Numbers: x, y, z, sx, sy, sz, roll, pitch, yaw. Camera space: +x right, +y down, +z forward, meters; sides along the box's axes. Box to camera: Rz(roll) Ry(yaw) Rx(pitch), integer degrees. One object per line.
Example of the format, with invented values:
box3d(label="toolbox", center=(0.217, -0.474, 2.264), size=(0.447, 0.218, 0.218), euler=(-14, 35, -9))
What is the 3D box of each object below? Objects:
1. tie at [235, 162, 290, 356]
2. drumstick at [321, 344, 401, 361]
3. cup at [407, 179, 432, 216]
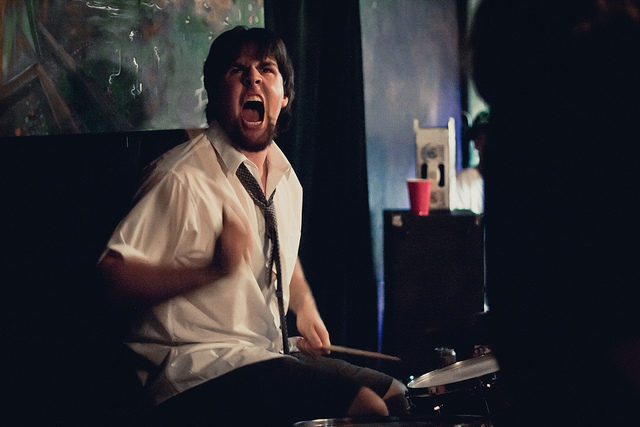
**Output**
box3d(label="tie", center=(-0.248, 0.111, 2.928), size=(0.161, 1.077, 0.178), euler=(0, -3, 28))
box3d(label="drumstick", center=(0.200, 0.637, 2.969), size=(0.320, 0.070, 0.034), euler=(-1, 2, 0))
box3d(label="cup", center=(0.468, -0.078, 2.977), size=(0.132, 0.172, 0.135), euler=(3, -1, 0))
